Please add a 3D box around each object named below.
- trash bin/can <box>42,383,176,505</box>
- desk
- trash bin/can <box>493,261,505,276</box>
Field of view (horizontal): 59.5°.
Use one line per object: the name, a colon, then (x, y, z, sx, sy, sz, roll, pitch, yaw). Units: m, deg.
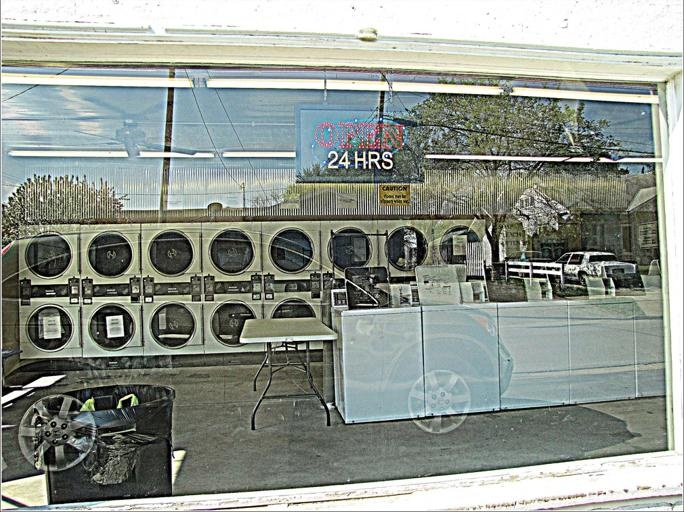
trash bin/can: (-1.620, 1.303, 4.233, 0.760, 0.706, 0.670, -1, -1, -39)
desk: (-0.584, 1.107, 6.207, 0.956, 0.819, 1.707, -2, 3, -10)
trash bin/can: (1.336, 0.100, 5.080, 0.108, 0.118, 0.105, 5, -9, -36)
